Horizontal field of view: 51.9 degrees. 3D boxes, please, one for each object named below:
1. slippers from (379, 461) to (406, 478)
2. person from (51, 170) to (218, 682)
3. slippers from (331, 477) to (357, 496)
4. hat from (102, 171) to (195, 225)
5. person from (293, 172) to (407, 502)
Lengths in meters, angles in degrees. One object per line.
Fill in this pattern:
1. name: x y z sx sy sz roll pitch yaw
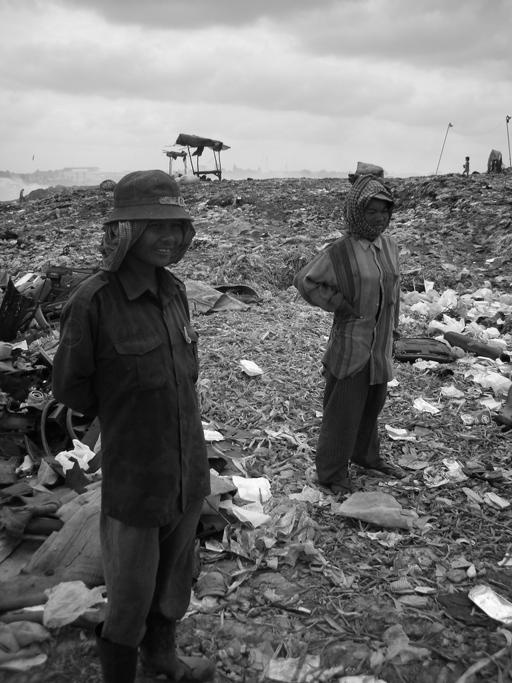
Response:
1. slippers: 0.869 0.826 3.351 0.089 0.051 0.139 -4 13 -14
2. person: -0.330 0.235 1.585 0.360 1.462 0.449 13 14 41
3. slippers: 0.539 0.867 3.139 0.124 0.043 0.091 -9 10 -41
4. hat: -0.302 -0.394 1.456 0.222 0.147 0.131 0 11 -17
5. person: 0.580 -0.011 3.071 0.681 1.825 0.394 -3 12 -30
